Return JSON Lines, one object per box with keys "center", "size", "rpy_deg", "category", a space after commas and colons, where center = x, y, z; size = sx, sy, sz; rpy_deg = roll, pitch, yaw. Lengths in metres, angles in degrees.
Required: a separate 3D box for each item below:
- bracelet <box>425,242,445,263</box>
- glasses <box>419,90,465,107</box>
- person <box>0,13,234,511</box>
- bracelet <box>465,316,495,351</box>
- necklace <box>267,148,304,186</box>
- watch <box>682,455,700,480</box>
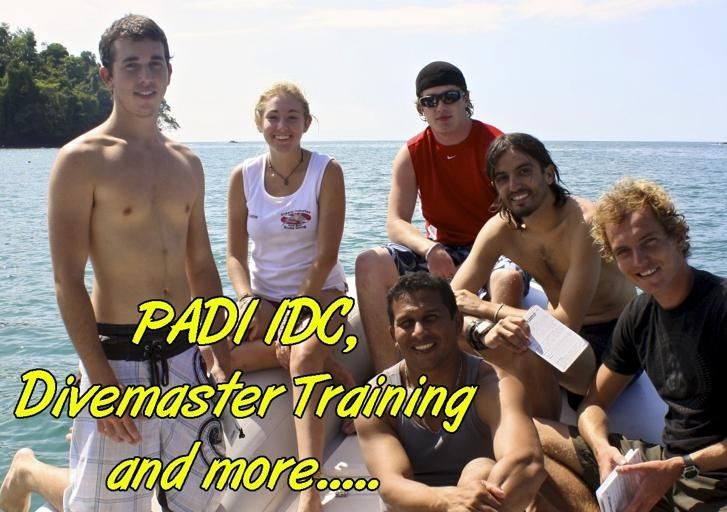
{"center": [0.544, -0.029, 5.481], "size": [0.126, 0.148, 0.118], "rpy_deg": [15, 10, -20], "category": "bracelet"}
{"center": [0.644, -1.286, 5.764], "size": [0.359, 0.144, 0.135], "rpy_deg": [0, 9, 3], "category": "glasses"}
{"center": [-1.271, 0.073, 4.014], "size": [1.021, 2.894, 0.690], "rpy_deg": [-8, 12, -39], "category": "person"}
{"center": [0.736, 0.517, 4.637], "size": [0.152, 0.203, 0.192], "rpy_deg": [-10, 31, -19], "category": "bracelet"}
{"center": [-0.566, -0.650, 5.177], "size": [0.226, 0.288, 0.060], "rpy_deg": [0, 6, 16], "category": "necklace"}
{"center": [1.744, 1.120, 3.735], "size": [0.070, 0.119, 0.110], "rpy_deg": [-16, 24, 8], "category": "watch"}
